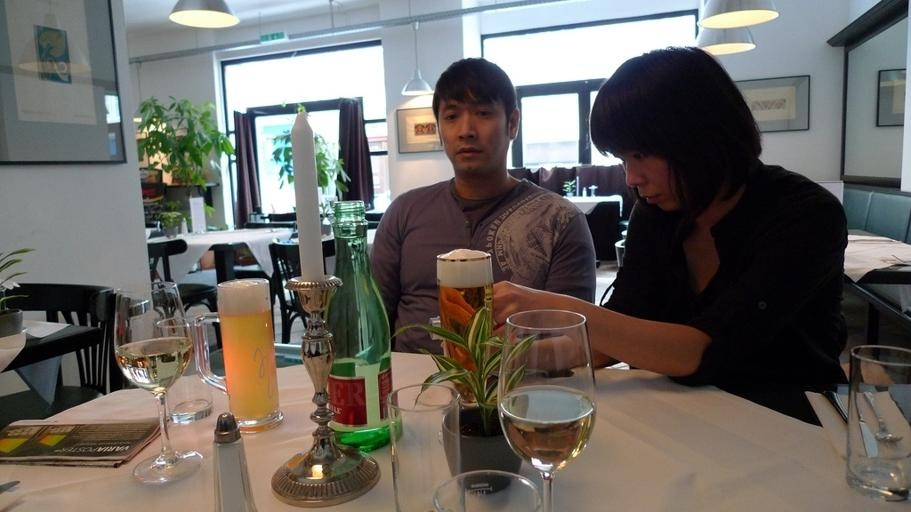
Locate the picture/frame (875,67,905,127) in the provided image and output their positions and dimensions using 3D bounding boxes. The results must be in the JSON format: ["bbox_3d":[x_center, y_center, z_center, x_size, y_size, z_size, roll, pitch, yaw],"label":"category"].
[{"bbox_3d":[4.356,-1.585,5.841,0.136,0.611,0.799,-1,8,29],"label":"picture/frame"}]

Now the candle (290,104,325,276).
[{"bbox_3d":[-0.415,-0.168,1.609,0.080,0.465,0.159,-8,8,-11],"label":"candle"}]

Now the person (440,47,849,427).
[{"bbox_3d":[0.840,-0.121,2.287,1.468,1.305,0.925,-8,11,-18],"label":"person"}]

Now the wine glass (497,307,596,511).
[{"bbox_3d":[0.233,0.392,1.485,0.250,0.485,0.155,-5,8,2],"label":"wine glass"}]

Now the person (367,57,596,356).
[{"bbox_3d":[0.066,-0.132,2.639,1.109,1.394,0.833,1,6,22],"label":"person"}]
